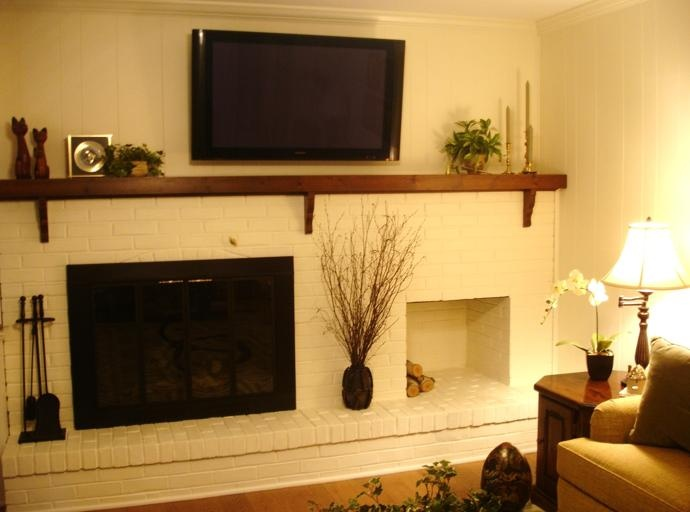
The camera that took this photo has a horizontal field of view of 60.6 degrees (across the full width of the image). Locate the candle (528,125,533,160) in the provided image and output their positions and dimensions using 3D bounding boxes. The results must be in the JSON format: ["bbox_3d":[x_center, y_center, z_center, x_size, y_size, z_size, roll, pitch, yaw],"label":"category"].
[{"bbox_3d":[1.411,-0.861,4.484,0.045,0.280,0.449,1,8,18],"label":"candle"}]

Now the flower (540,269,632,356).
[{"bbox_3d":[1.521,0.315,3.903,0.598,0.676,0.656,0,2,-5],"label":"flower"}]

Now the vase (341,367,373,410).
[{"bbox_3d":[0.088,0.928,4.188,0.234,0.311,0.240,3,-1,44],"label":"vase"}]

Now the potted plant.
[{"bbox_3d":[0.943,-0.767,4.424,0.411,0.322,0.443,-1,4,-14],"label":"potted plant"}]

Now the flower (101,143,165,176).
[{"bbox_3d":[-1.381,-0.618,3.837,0.349,0.209,0.112,-5,8,-23],"label":"flower"}]

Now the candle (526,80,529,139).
[{"bbox_3d":[1.353,-1.060,4.348,0.029,0.411,0.224,1,8,18],"label":"candle"}]
